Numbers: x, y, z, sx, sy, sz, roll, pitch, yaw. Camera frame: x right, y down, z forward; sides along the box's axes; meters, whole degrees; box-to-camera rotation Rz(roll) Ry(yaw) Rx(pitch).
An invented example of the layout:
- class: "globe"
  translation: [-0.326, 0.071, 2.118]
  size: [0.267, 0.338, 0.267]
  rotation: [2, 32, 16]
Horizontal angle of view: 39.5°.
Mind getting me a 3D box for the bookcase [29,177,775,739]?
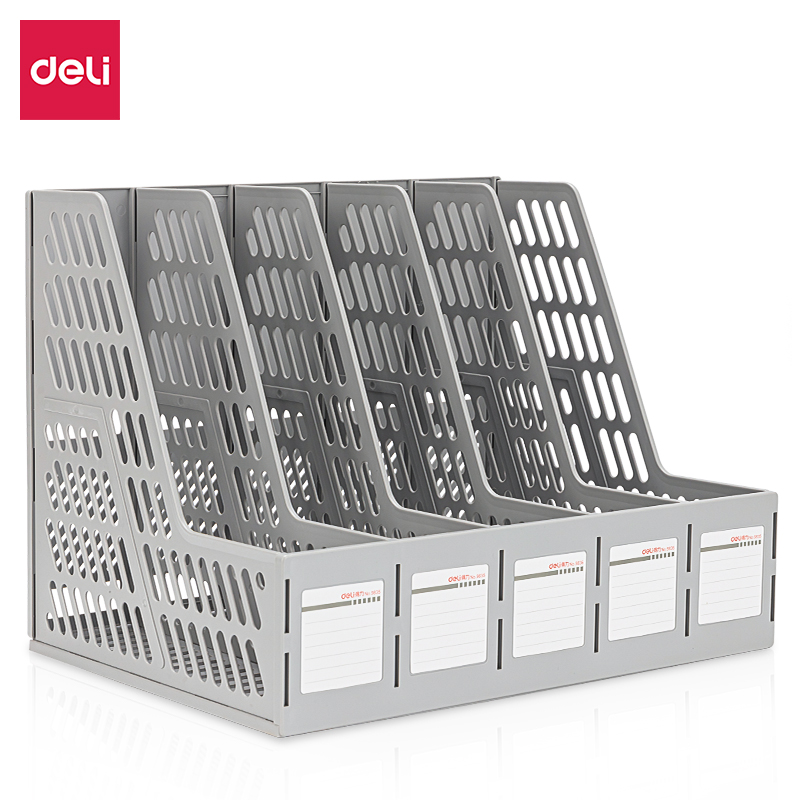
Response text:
- class: "bookcase"
  translation: [-0.095, -0.006, 4.351]
  size: [2.449, 1.966, 1.815]
  rotation: [0, 2, -31]
